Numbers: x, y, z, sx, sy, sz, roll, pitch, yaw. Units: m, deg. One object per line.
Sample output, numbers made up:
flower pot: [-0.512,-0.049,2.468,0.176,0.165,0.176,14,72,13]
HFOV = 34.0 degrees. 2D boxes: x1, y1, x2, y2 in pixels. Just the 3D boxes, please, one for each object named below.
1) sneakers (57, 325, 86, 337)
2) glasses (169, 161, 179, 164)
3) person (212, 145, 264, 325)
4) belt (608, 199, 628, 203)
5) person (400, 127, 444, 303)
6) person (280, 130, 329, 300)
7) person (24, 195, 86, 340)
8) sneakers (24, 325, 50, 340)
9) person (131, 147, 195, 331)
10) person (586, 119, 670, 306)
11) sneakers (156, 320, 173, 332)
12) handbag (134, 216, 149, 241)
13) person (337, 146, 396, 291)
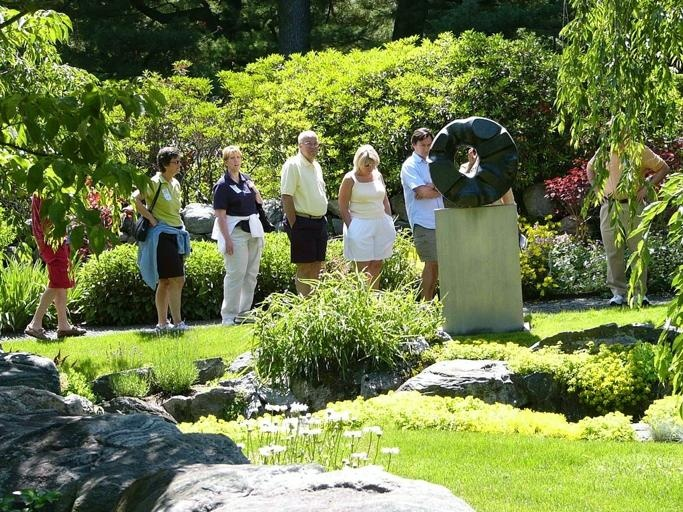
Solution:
sneakers: [-3.458,0.987,14.315,0.349,0.141,0.125,-4,7,-41]
glasses: [-1.998,-1.129,13.448,0.093,0.041,0.033,-1,-1,-45]
person: [-1.288,-0.253,14.081,0.637,1.502,0.686,-2,-1,-5]
belt: [2.884,-0.570,11.556,0.189,0.056,0.187,1,-2,4]
person: [1.015,-0.500,13.471,0.505,1.604,0.594,-2,-1,-14]
person: [-0.438,-0.602,13.623,0.518,1.347,0.645,-2,-1,0]
person: [-3.539,0.187,13.754,0.708,1.672,2.055,-2,-1,-13]
sneakers: [-3.888,0.985,14.228,0.246,0.105,0.086,24,18,-21]
person: [-2.184,-0.187,13.652,0.615,2.232,0.924,-2,-1,-4]
person: [3.530,-0.546,13.678,0.803,2.678,0.619,-2,26,19]
sneakers: [-2.212,0.889,14.032,0.258,0.136,0.108,-1,5,-1]
handbag: [-2.393,-0.327,13.424,0.104,0.288,0.275,7,3,-6]
person: [0.305,-0.506,13.405,0.608,1.228,0.553,-2,-1,16]
